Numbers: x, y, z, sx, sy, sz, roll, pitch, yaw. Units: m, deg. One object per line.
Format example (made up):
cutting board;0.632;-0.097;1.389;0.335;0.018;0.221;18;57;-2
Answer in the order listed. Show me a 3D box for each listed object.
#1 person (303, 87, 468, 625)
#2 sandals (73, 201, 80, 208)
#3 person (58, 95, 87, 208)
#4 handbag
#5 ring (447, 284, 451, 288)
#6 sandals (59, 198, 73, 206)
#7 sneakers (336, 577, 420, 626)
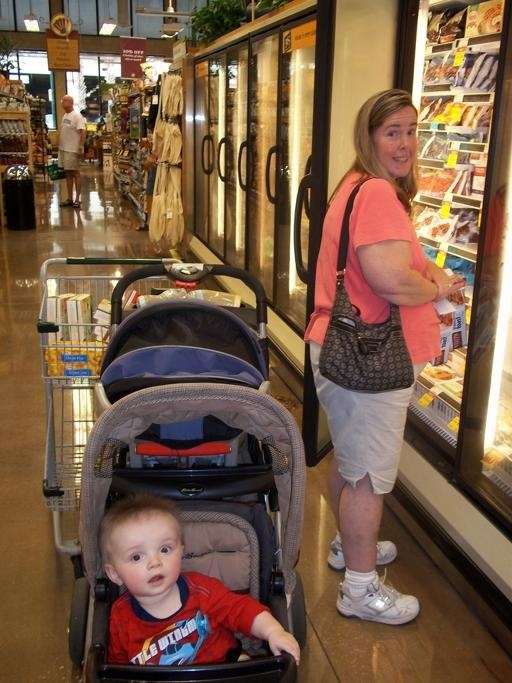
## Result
person;0.346;0.109;1.549;0.430;1.628;0.439;5;12;22
sandals;-3.946;-3.017;11.288;0.147;0.200;0.072;0;-11;-4
person;-3.989;-4.061;11.147;0.556;2.292;0.898;-4;12;-20
handbag;0.308;-0.054;1.358;0.234;0.360;0.144;5;34;25
ring;0.562;-0.163;1.503;0.008;0.013;0.012;-2;-23;4
sandals;-4.207;-3.088;11.362;0.259;0.163;0.135;4;12;3
sneakers;0.377;0.812;1.677;0.308;0.154;0.120;1;16;2
